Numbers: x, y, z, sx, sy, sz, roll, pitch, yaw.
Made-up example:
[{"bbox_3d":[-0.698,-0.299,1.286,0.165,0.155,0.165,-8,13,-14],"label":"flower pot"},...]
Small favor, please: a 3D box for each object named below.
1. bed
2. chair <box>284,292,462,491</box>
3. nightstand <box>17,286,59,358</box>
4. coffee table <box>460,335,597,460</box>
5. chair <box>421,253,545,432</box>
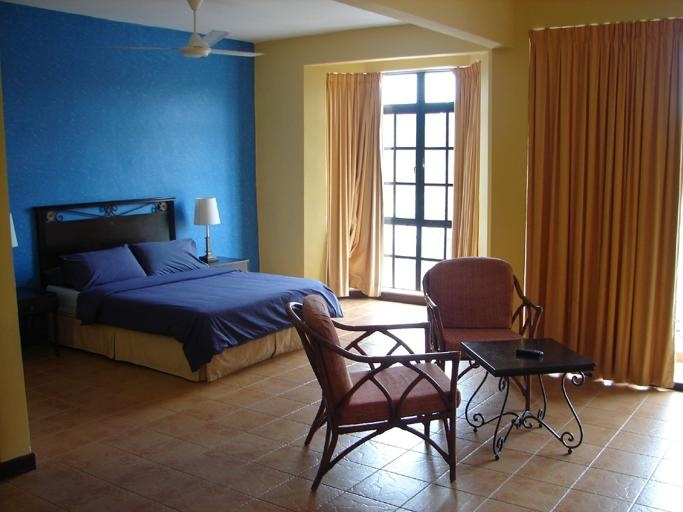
[{"bbox_3d":[-1.932,0.238,6.080,2.682,1.618,1.709,8,15,34],"label":"bed"},{"bbox_3d":[0.256,0.899,3.854,1.104,1.163,0.844,-2,7,-10],"label":"chair"},{"bbox_3d":[-3.316,0.698,5.879,0.371,0.724,0.625,-9,15,-32],"label":"nightstand"},{"bbox_3d":[1.403,1.086,4.109,1.028,0.658,0.995,0,0,-42],"label":"coffee table"},{"bbox_3d":[1.229,0.691,4.781,1.004,1.282,0.867,1,5,16],"label":"chair"}]
